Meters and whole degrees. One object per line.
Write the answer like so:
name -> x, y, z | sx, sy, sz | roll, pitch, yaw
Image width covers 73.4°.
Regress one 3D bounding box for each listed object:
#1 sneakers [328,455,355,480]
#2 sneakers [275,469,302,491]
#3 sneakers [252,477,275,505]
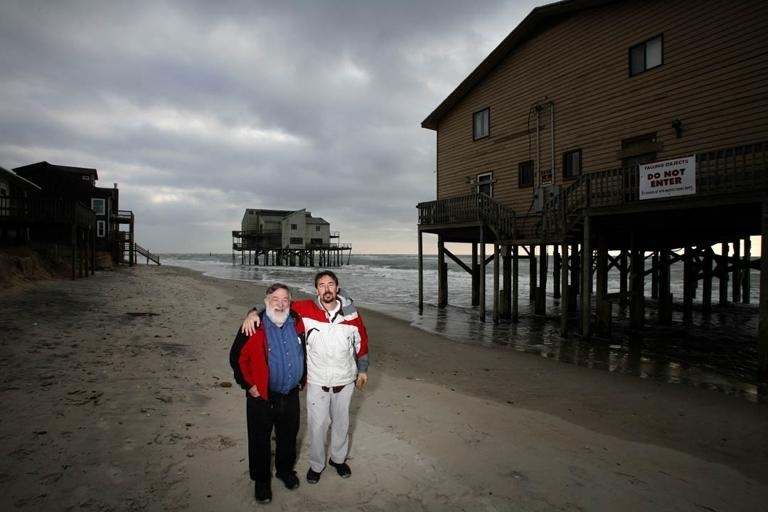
sneakers -> -0.875, 4.354, 10.461 | 0.237, 0.215, 0.522 | 2, 1, -42
sneakers -> -1.844, 4.463, 10.167 | 0.265, 0.174, 0.481 | 3, 0, -44
sneakers -> -2.322, 4.602, 9.952 | 0.214, 0.246, 0.581 | 5, -7, -21
